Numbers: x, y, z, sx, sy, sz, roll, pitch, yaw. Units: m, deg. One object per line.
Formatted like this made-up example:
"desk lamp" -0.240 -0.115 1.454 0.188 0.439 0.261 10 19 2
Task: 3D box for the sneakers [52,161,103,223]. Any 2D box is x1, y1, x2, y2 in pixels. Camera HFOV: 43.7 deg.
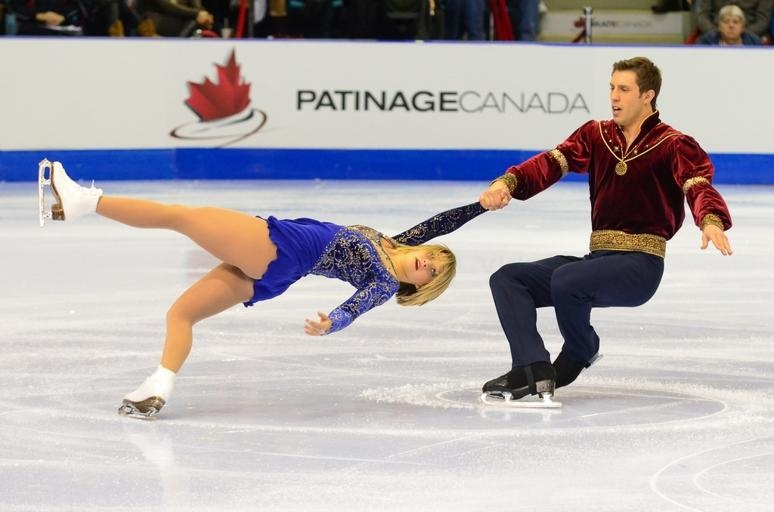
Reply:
"sneakers" -1.447 -0.294 4.485 0.330 0.256 0.127 9 17 30

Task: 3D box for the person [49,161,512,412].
"person" -0.335 0.027 4.594 2.371 0.746 0.870 -5 45 -21

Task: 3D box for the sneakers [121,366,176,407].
"sneakers" -1.081 0.578 4.355 0.211 0.178 0.108 5 15 12

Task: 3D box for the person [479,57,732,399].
"person" 1.059 -0.141 4.704 1.541 1.567 1.055 -1 9 30
